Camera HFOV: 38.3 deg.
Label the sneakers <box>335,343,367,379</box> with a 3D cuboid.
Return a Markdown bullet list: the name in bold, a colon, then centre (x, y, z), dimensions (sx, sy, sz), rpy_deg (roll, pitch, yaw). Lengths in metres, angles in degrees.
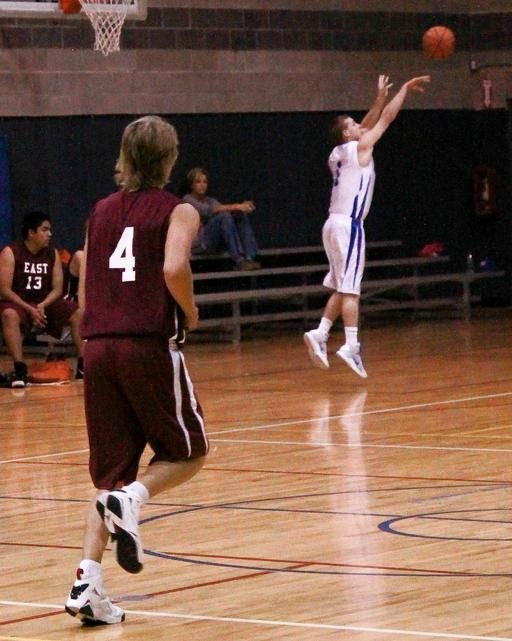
- **sneakers**: centre (0.759, 0.326, 5.818), dimensions (0.130, 0.256, 0.265), rpy_deg (-7, -5, 45)

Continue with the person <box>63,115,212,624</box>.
- **person**: centre (-0.241, 0.005, 1.580), dimensions (0.267, 0.967, 0.343), rpy_deg (-3, -4, -12)

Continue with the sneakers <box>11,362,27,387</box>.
- **sneakers**: centre (-2.142, 0.501, 6.672), dimensions (0.146, 0.230, 0.165), rpy_deg (-2, -4, -18)

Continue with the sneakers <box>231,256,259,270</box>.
- **sneakers**: centre (-0.137, -0.710, 9.434), dimensions (0.336, 0.135, 0.138), rpy_deg (-3, -1, 44)

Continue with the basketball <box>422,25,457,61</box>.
- **basketball**: centre (2.248, -3.471, 9.136), dimensions (0.511, 0.427, 0.255), rpy_deg (0, 15, 2)

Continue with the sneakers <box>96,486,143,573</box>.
- **sneakers**: centre (-0.263, 0.410, 1.425), dimensions (0.084, 0.155, 0.109), rpy_deg (-3, -4, -9)
